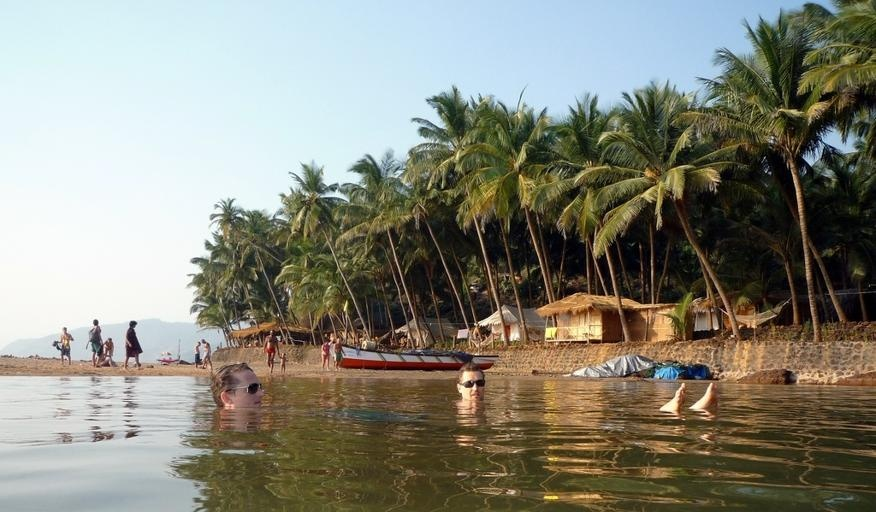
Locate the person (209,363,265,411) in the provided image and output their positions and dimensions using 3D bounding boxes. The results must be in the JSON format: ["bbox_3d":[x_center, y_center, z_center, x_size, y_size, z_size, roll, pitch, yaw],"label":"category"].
[{"bbox_3d":[-3.683,2.440,11.768,0.976,0.976,0.792,-3,-2,9],"label":"person"}]
